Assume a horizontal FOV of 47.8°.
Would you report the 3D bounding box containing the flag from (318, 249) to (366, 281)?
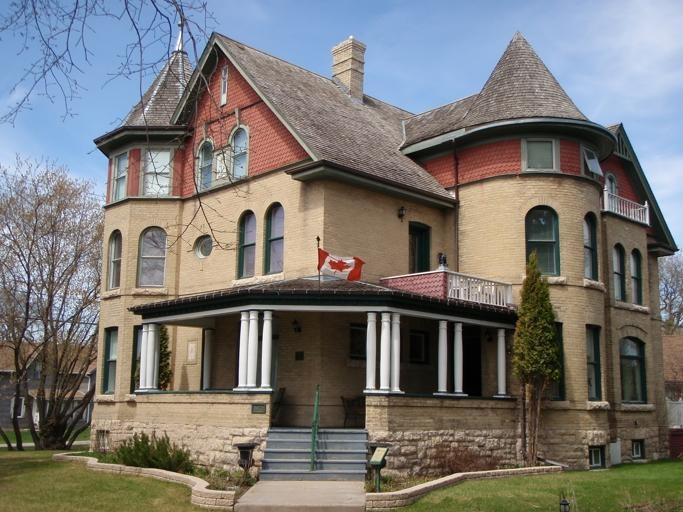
[{"bbox_3d":[-0.123,0.332,25.678,1.841,0.905,0.783,10,-19,-32],"label":"flag"}]
